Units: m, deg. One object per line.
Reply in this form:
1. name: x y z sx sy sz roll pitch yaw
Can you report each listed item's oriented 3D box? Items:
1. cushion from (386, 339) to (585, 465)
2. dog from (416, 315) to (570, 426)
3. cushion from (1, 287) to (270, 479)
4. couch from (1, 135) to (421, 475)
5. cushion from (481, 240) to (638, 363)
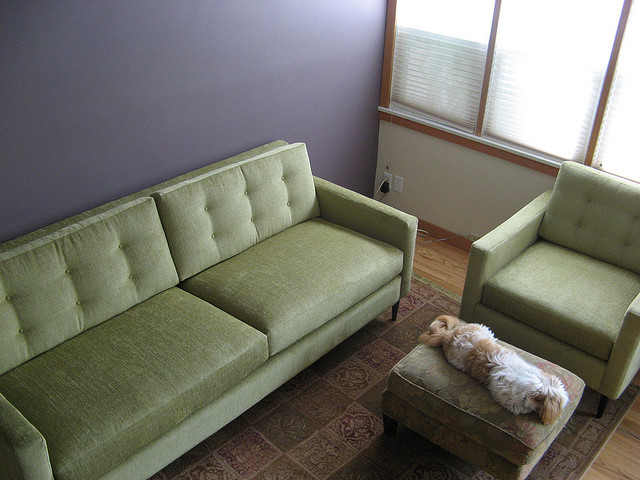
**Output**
1. cushion: 0.754 0.658 2.281 0.694 0.218 0.591 27 42 33
2. dog: 0.795 0.551 2.269 0.301 0.266 0.700 -27 42 -22
3. cushion: -0.839 0.598 2.269 0.728 0.218 0.960 25 41 31
4. couch: -0.570 0.270 2.545 2.059 0.819 1.026 -21 39 -29
5. cushion: 1.341 0.275 2.783 0.680 0.199 0.597 25 41 32
